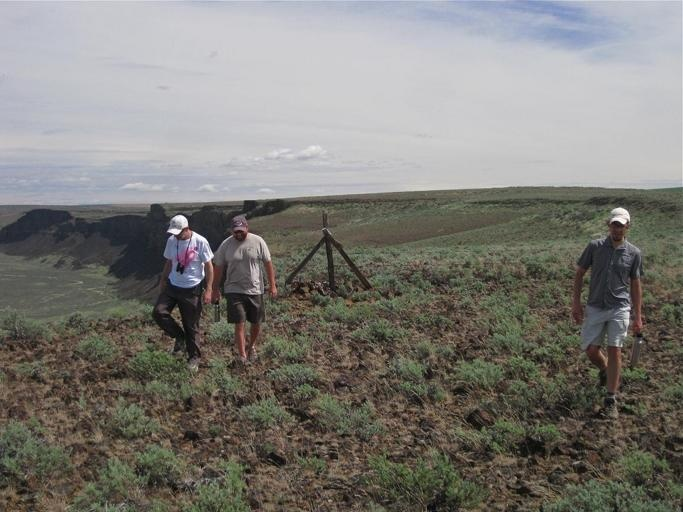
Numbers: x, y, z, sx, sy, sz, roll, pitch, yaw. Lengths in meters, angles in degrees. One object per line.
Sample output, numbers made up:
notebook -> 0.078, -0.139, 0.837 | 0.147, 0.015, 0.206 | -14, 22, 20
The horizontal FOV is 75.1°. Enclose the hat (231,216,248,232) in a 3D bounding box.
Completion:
hat -> -1.755, -0.555, 7.717 | 0.230, 0.196, 0.353 | -2, -5, -1

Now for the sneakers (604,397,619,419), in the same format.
sneakers -> 3.833, 2.146, 6.335 | 0.134, 0.154, 0.384 | -3, -10, 16

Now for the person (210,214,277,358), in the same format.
person -> -1.671, 0.586, 7.820 | 1.061, 2.573, 0.530 | -4, 11, -22

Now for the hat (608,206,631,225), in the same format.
hat -> 4.149, -0.580, 6.645 | 0.248, 0.225, 0.399 | 10, -3, 31

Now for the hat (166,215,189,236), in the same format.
hat -> -2.716, -0.570, 7.580 | 0.290, 0.213, 0.424 | 5, 20, 9

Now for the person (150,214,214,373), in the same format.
person -> -2.712, 0.606, 7.719 | 1.013, 2.648, 0.659 | -2, 10, -10

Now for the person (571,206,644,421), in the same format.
person -> 4.027, 0.767, 6.562 | 0.817, 2.895, 0.971 | -2, 10, -11
